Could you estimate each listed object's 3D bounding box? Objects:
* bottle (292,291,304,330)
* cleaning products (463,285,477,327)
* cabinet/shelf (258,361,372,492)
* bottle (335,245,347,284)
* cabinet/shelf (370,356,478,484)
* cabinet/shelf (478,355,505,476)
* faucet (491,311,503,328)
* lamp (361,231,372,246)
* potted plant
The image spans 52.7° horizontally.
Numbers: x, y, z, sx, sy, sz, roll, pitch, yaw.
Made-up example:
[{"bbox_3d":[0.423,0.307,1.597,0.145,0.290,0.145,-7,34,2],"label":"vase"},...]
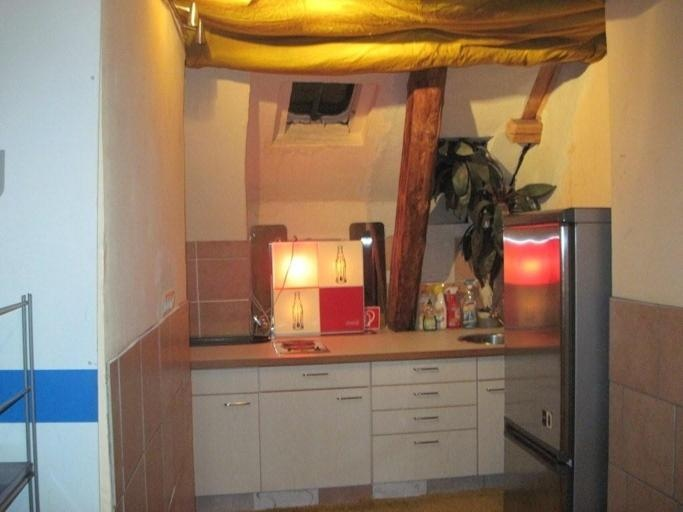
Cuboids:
[{"bbox_3d":[-0.306,0.384,4.834,0.079,0.259,0.032,0,2,-4],"label":"bottle"},{"bbox_3d":[0.934,0.370,5.077,0.122,0.450,0.049,-6,39,5],"label":"cleaning products"},{"bbox_3d":[-0.160,0.908,4.434,0.787,1.055,0.636,0,4,-2],"label":"cabinet/shelf"},{"bbox_3d":[-0.003,0.063,4.902,0.081,0.263,0.039,0,2,-1],"label":"bottle"},{"bbox_3d":[0.516,0.920,4.478,0.671,0.877,0.526,-2,23,4],"label":"cabinet/shelf"},{"bbox_3d":[0.961,0.943,4.395,0.206,0.429,0.230,3,0,12],"label":"cabinet/shelf"},{"bbox_3d":[1.134,0.452,5.038,0.123,0.138,0.076,2,-5,-29],"label":"faucet"},{"bbox_3d":[0.186,-0.117,5.115,0.082,0.121,0.090,7,-25,-14],"label":"lamp"},{"bbox_3d":[0.991,-0.249,5.309,0.980,1.848,1.079,4,8,7],"label":"potted plant"}]
